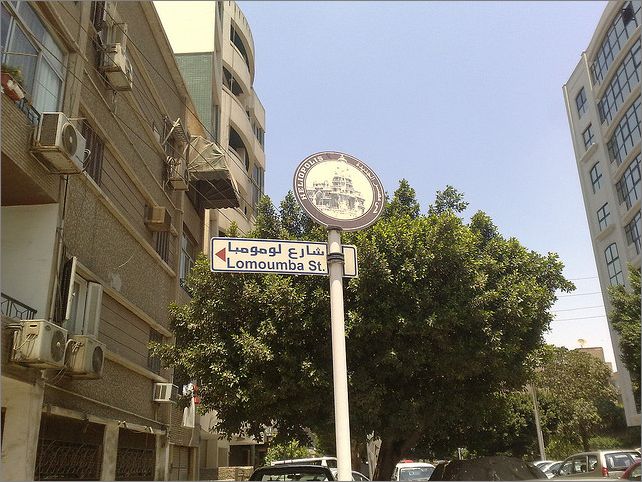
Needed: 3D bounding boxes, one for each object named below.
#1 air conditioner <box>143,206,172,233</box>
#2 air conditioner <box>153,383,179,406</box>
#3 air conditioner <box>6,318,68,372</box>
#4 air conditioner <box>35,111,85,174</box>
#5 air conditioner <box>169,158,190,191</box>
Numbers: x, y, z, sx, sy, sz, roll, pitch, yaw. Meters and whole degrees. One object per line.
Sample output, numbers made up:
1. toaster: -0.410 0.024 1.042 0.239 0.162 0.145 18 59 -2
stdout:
1. air conditioner: -5.935 -0.884 20.070 0.702 1.048 1.044 -1 -29 -3
2. air conditioner: -5.506 5.360 19.644 0.623 0.646 1.111 -1 -15 -1
3. air conditioner: -6.050 2.257 11.999 0.781 1.046 1.482 -3 -23 1
4. air conditioner: -6.035 -2.232 12.752 0.644 1.101 1.359 -1 -24 1
5. air conditioner: -5.734 -2.684 22.281 0.497 1.016 1.049 -3 -23 1
